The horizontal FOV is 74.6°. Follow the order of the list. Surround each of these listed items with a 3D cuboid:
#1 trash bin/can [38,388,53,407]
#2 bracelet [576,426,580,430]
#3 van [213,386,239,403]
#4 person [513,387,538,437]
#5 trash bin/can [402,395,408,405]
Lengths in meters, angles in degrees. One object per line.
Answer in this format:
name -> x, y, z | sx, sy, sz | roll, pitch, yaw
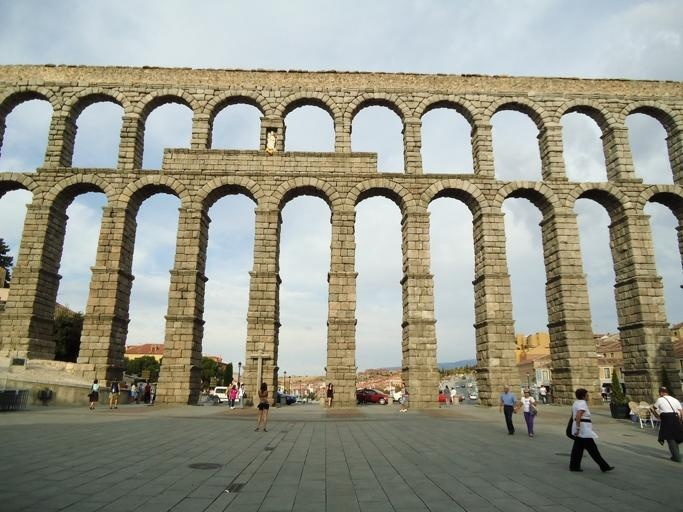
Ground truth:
trash bin/can -> -15.311, 7.245, 23.177 | 0.662, 0.901, 0.907 | -1, -15, 0
bracelet -> 5.766, 4.161, 10.930 | 0.098, 0.115, 0.046 | -13, -19, 39
van -> -11.172, 12.848, 41.716 | 2.208, 1.315, 1.362 | -5, -10, 21
person -> 7.043, 5.746, 16.788 | 0.467, 1.540, 2.753 | -7, -15, 20
trash bin/can -> 3.670, 8.224, 25.771 | 0.344, 0.624, 0.640 | 5, -12, -14
